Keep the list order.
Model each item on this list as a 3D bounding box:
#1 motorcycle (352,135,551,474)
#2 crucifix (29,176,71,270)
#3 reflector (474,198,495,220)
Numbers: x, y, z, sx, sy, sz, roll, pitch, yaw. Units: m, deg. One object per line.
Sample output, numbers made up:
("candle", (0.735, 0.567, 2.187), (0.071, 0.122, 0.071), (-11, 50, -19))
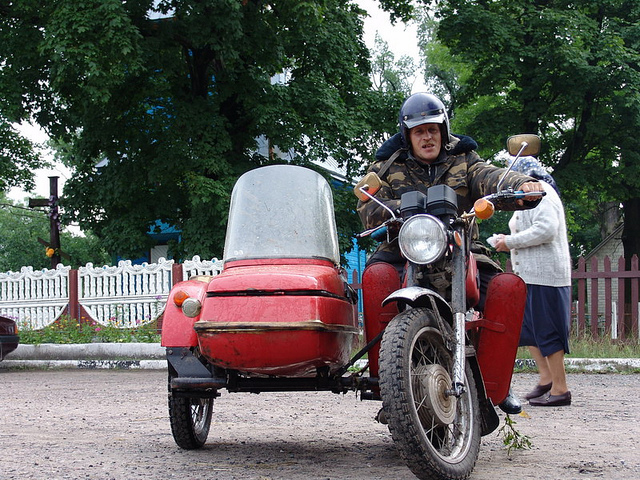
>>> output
("motorcycle", (1.298, 0.827, 10.232), (1.760, 3.317, 1.349), (-3, 2, 10))
("crucifix", (-8.113, -0.316, 28.740), (1.627, 2.982, 0.685), (2, 11, -1))
("reflector", (1.765, -0.320, 10.172), (0.203, 0.198, 0.189), (4, -16, 31))
